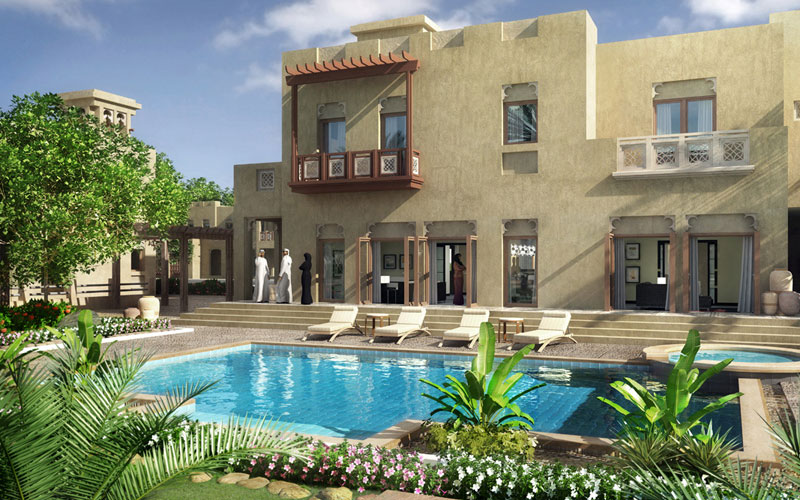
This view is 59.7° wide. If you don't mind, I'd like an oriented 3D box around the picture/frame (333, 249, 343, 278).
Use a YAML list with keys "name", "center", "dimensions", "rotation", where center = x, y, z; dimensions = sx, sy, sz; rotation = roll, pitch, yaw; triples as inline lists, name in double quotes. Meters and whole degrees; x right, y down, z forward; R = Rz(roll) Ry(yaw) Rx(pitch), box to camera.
- name: "picture/frame"
  center: [-2.351, 0.504, 26.503]
  dimensions: [0.491, 1.074, 0.109]
  rotation: [-3, -4, 38]

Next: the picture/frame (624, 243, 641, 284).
- name: "picture/frame"
  center: [9.119, 0.508, 27.487]
  dimensions: [0.589, 1.629, 0.324]
  rotation: [-2, -4, 25]

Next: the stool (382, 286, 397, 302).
- name: "stool"
  center: [-0.469, 1.676, 26.531]
  dimensions: [0.722, 0.739, 0.542]
  rotation: [0, -3, 9]
